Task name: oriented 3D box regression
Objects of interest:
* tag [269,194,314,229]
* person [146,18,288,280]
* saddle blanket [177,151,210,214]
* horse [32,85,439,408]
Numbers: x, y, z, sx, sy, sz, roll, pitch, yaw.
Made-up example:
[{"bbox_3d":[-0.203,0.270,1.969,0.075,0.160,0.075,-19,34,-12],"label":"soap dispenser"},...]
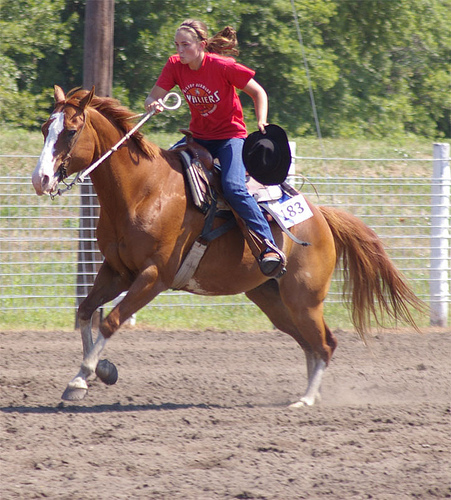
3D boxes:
[{"bbox_3d":[0.515,-0.301,6.354,0.350,0.231,0.358,1,13,6],"label":"tag"},{"bbox_3d":[-0.087,-0.732,6.106,1.050,1.754,0.933,1,20,31],"label":"person"},{"bbox_3d":[-0.236,-0.484,5.965,0.139,0.433,0.342,-1,9,-34],"label":"saddle blanket"},{"bbox_3d":[-0.010,0.066,6.210,2.974,2.328,0.726,-2,11,-35],"label":"horse"}]
